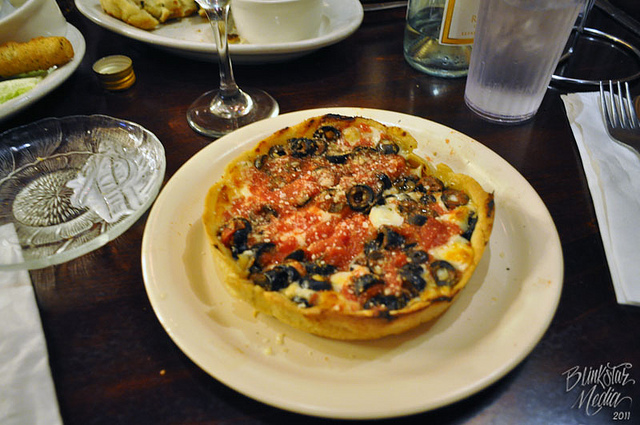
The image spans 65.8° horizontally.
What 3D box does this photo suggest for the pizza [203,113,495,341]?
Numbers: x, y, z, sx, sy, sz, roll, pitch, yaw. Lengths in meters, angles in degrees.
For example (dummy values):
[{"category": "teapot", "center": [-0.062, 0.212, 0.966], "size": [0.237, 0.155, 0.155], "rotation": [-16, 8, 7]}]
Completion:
[{"category": "pizza", "center": [0.101, 0.004, 1.690], "size": [0.952, 0.173, 0.830], "rotation": [-11, 63, -2]}]
